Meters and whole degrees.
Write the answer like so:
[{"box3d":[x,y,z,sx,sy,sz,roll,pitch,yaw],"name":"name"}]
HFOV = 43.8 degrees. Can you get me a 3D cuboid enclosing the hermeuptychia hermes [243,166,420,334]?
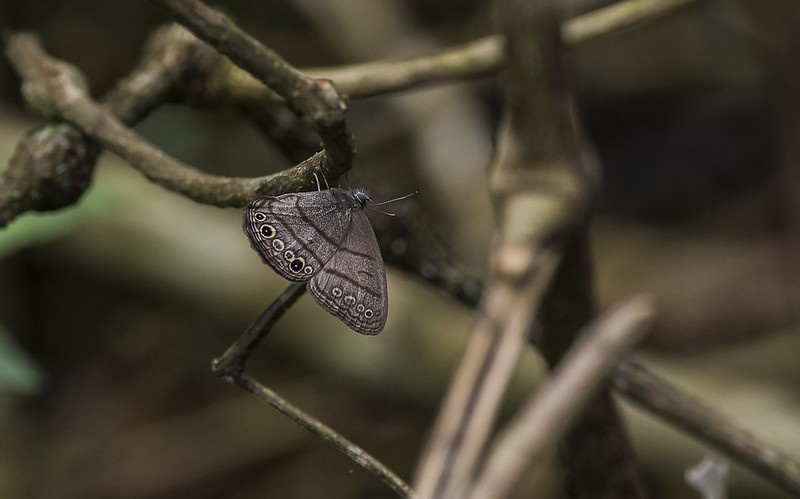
[{"box3d":[-0.092,-0.018,1.020,0.076,0.205,0.182,31,68,-10],"name":"hermeuptychia hermes"}]
